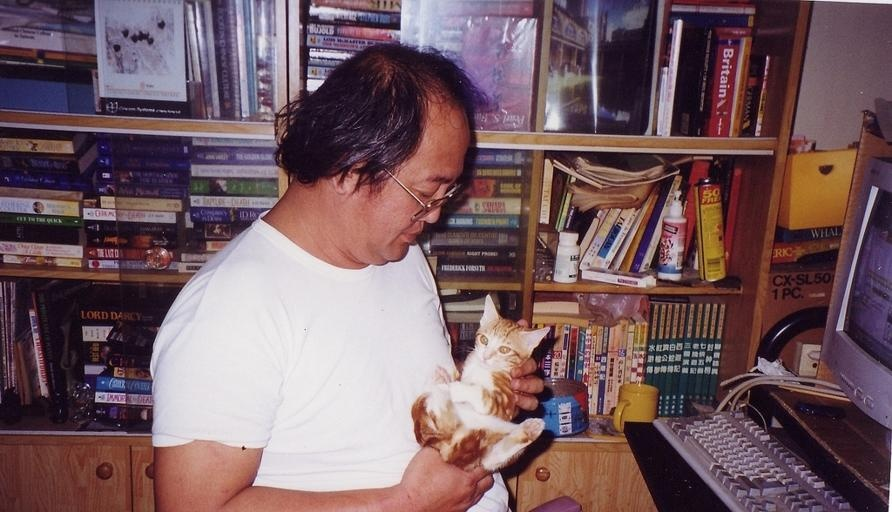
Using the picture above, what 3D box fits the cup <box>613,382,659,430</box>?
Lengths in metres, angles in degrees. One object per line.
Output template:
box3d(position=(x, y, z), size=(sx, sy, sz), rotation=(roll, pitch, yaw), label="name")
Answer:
box3d(position=(0.788, 0.622, 2.877), size=(0.142, 0.161, 0.234), rotation=(4, 15, 31), label="cup")
